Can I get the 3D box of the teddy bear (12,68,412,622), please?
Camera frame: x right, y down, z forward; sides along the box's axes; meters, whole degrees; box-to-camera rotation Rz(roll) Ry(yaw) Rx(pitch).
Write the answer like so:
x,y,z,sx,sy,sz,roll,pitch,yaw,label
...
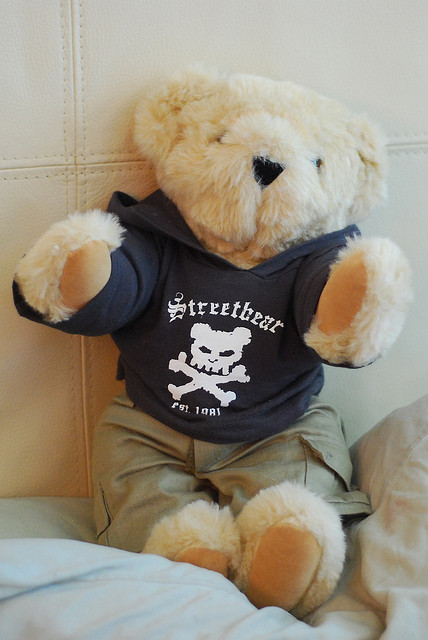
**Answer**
x,y,z,sx,sy,sz,roll,pitch,yaw,label
0.040,0.011,0.822,0.486,0.436,0.596,7,102,10,teddy bear
